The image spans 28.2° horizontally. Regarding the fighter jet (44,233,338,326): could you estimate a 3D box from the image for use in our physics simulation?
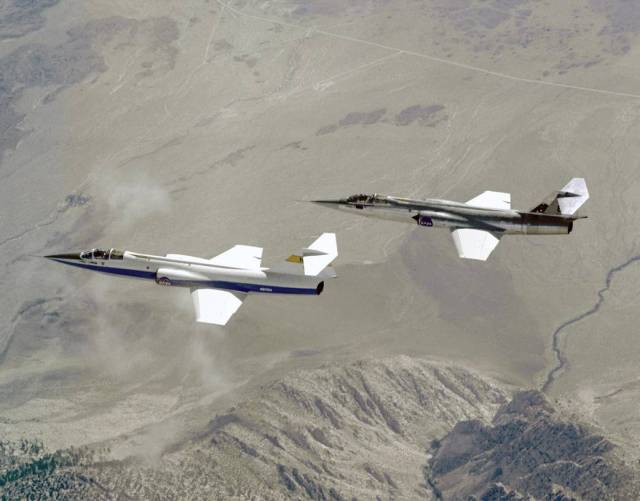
[{"bbox_3d":[-15.982,4.279,165.111,11.000,9.475,29.164,-3,11,-10],"label":"fighter jet"}]

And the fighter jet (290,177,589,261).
[{"bbox_3d":[16.043,-5.865,158.981,32.977,21.902,7.399,8,84,3],"label":"fighter jet"}]
